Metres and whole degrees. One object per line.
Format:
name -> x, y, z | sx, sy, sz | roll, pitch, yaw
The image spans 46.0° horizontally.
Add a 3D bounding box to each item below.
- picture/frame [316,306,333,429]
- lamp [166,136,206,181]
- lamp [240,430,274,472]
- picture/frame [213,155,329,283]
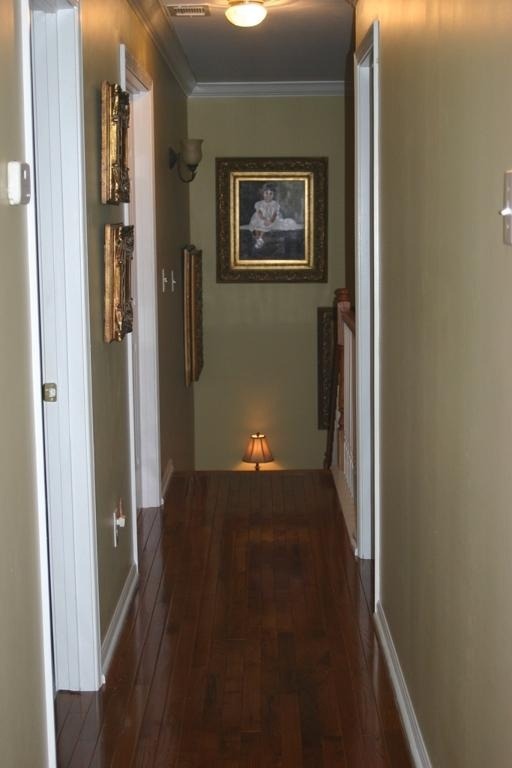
picture/frame -> 0.709, -0.130, 6.173 | 0.145, 1.282, 0.243 | -4, 5, -39
lamp -> -0.623, -1.898, 5.213 | 0.261, 0.333, 1.106 | -1, 6, -8
lamp -> 0.022, 0.720, 6.331 | 0.308, 0.378, 0.284 | -5, 7, -40
picture/frame -> 0.167, -1.683, 6.016 | 0.703, 1.255, 0.075 | 0, 6, 3
